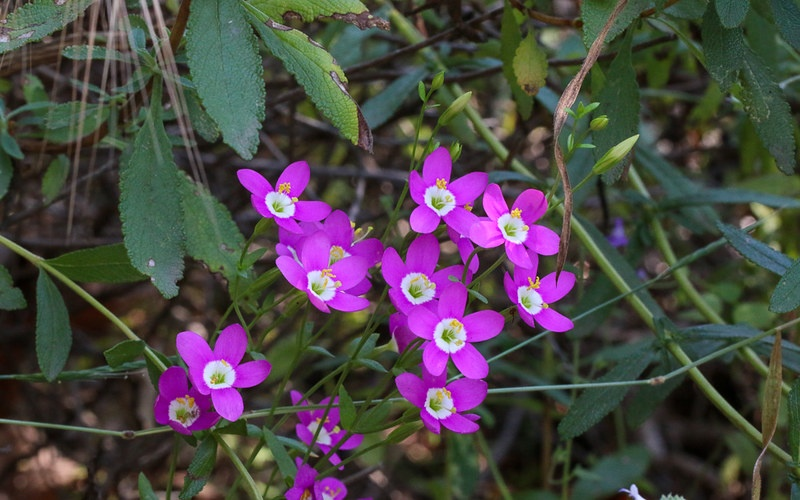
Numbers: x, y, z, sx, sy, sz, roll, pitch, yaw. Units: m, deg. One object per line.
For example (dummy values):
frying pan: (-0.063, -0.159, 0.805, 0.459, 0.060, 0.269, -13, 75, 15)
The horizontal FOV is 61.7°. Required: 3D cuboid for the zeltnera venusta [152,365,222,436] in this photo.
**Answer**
zeltnera venusta: (-0.397, 0.275, 1.196, 0.098, 0.069, 0.112, 1, 34, -41)
